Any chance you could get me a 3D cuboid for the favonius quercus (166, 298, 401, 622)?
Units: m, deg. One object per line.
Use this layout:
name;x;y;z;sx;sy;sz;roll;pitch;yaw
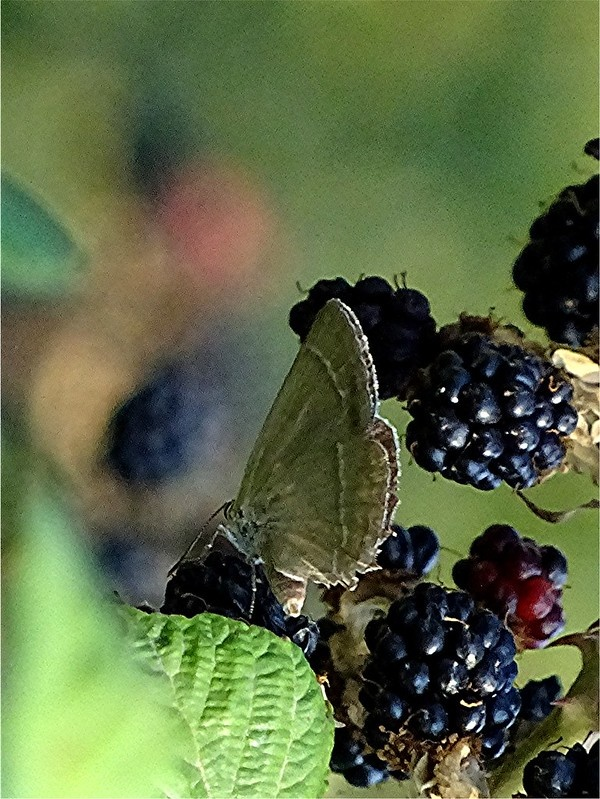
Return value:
favonius quercus;-0.015;0.093;1.241;0.157;0.268;0.318;23;-28;-15
